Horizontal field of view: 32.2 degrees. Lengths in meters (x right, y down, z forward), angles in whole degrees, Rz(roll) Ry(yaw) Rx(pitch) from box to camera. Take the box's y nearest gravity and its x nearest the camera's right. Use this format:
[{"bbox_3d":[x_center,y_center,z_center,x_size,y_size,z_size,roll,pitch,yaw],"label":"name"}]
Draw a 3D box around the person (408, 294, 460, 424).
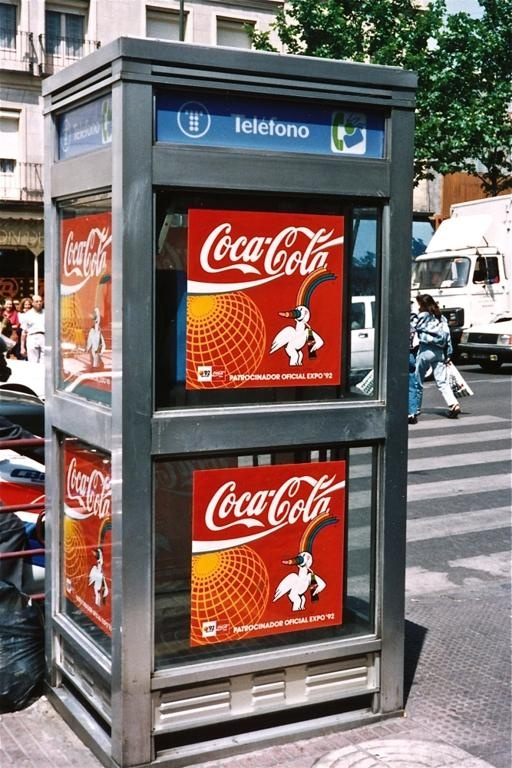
[{"bbox_3d":[2.646,-0.382,12.996,0.701,1.790,1.130,2,4,13],"label":"person"}]
